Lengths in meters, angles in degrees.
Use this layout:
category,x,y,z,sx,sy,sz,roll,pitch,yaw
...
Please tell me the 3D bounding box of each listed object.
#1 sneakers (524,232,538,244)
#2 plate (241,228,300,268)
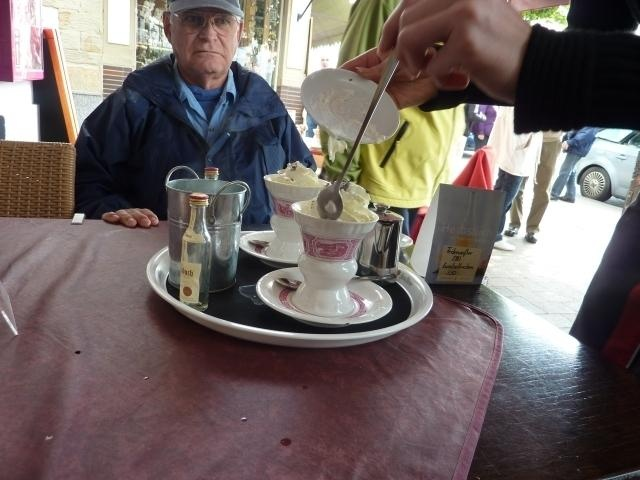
category,x,y,z,sx,sy,sz,roll,pitch,yaw
sneakers,2.658,-0.025,5.461,0.074,0.084,0.196,1,7,6
plate,-0.188,0.020,1.503,0.149,0.036,0.149,15,29,-9
